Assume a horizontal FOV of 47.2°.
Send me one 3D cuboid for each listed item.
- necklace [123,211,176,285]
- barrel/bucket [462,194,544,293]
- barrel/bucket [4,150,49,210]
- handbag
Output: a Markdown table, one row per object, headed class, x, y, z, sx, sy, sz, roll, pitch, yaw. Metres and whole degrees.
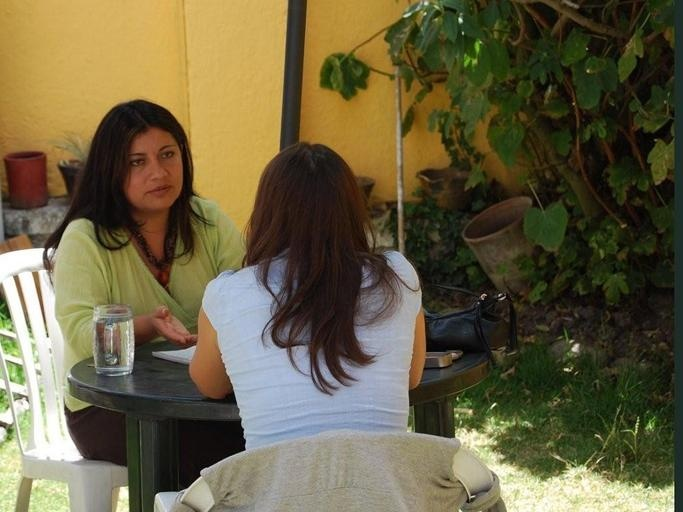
| class | x | y | z | sx | sy | sz | roll | pitch | yaw |
| --- | --- | --- | --- | --- | --- | --- | --- | --- | --- |
| necklace | -0.898 | -0.020 | 3.670 | 0.060 | 0.295 | 0.172 | -20 | -2 | 13 |
| barrel/bucket | 1.288 | -0.085 | 6.402 | 0.579 | 0.789 | 0.463 | -2 | -2 | 32 |
| barrel/bucket | -2.654 | -0.630 | 6.586 | 0.361 | 0.526 | 0.405 | 1 | 7 | 30 |
| handbag | 0.568 | 0.312 | 3.416 | 0.348 | 0.444 | 0.253 | -10 | -1 | 16 |
